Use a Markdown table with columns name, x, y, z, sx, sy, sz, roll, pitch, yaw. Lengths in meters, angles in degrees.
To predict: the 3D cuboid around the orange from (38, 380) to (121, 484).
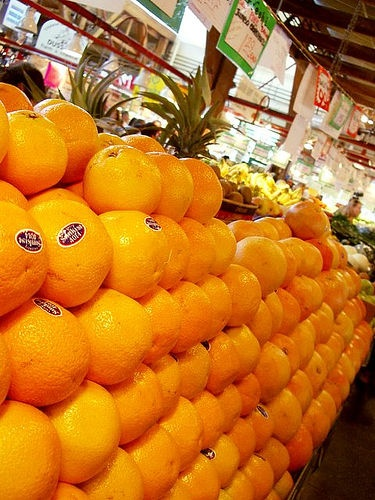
| name | x | y | z | sx | sy | sz | roll | pitch | yaw |
| --- | --- | --- | --- | --- | --- | --- | --- | --- | --- |
| orange | -0.142 | 0.258 | 0.572 | 0.140 | 0.134 | 0.165 | 0 | 65 | -23 |

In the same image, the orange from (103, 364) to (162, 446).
| name | x | y | z | sx | sy | sz | roll | pitch | yaw |
| --- | --- | --- | --- | --- | --- | --- | --- | --- | --- |
| orange | -0.097 | 0.286 | 0.695 | 0.136 | 0.130 | 0.160 | 8 | 65 | -19 |

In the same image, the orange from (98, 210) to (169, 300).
| name | x | y | z | sx | sy | sz | roll | pitch | yaw |
| --- | --- | --- | --- | --- | --- | --- | --- | --- | --- |
| orange | -0.095 | 0.010 | 0.766 | 0.153 | 0.187 | 0.165 | -5 | 12 | 28 |

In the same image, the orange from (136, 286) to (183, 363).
| name | x | y | z | sx | sy | sz | roll | pitch | yaw |
| --- | --- | --- | --- | --- | --- | --- | --- | --- | --- |
| orange | -0.064 | 0.176 | 0.833 | 0.137 | 0.131 | 0.162 | 20 | 54 | -41 |

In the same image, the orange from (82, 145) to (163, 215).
| name | x | y | z | sx | sy | sz | roll | pitch | yaw |
| --- | --- | --- | --- | --- | --- | --- | --- | --- | --- |
| orange | -0.135 | -0.158 | 0.811 | 0.167 | 0.133 | 0.164 | -4 | 16 | -29 |

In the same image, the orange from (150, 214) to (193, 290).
| name | x | y | z | sx | sy | sz | roll | pitch | yaw |
| --- | --- | --- | --- | --- | --- | --- | --- | --- | --- |
| orange | -0.047 | 0.000 | 0.877 | 0.089 | 0.156 | 0.100 | 20 | 22 | 39 |
